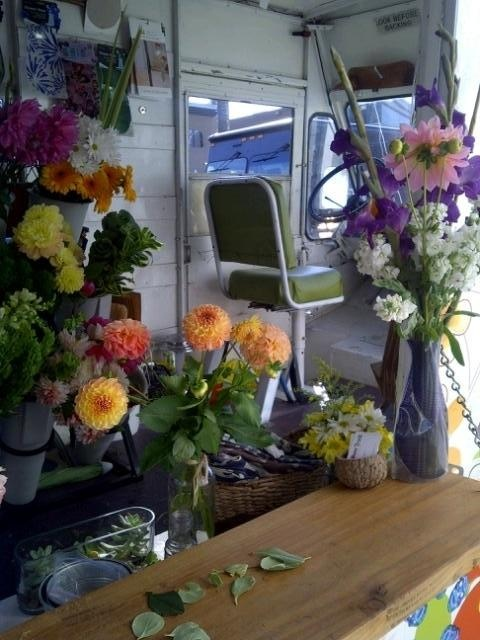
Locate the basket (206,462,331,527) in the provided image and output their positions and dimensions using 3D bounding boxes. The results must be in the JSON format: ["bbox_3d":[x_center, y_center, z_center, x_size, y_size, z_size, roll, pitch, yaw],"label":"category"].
[{"bbox_3d":[0.063,0.280,0.846,0.177,0.053,0.120,-4,-9,-28],"label":"basket"}]
